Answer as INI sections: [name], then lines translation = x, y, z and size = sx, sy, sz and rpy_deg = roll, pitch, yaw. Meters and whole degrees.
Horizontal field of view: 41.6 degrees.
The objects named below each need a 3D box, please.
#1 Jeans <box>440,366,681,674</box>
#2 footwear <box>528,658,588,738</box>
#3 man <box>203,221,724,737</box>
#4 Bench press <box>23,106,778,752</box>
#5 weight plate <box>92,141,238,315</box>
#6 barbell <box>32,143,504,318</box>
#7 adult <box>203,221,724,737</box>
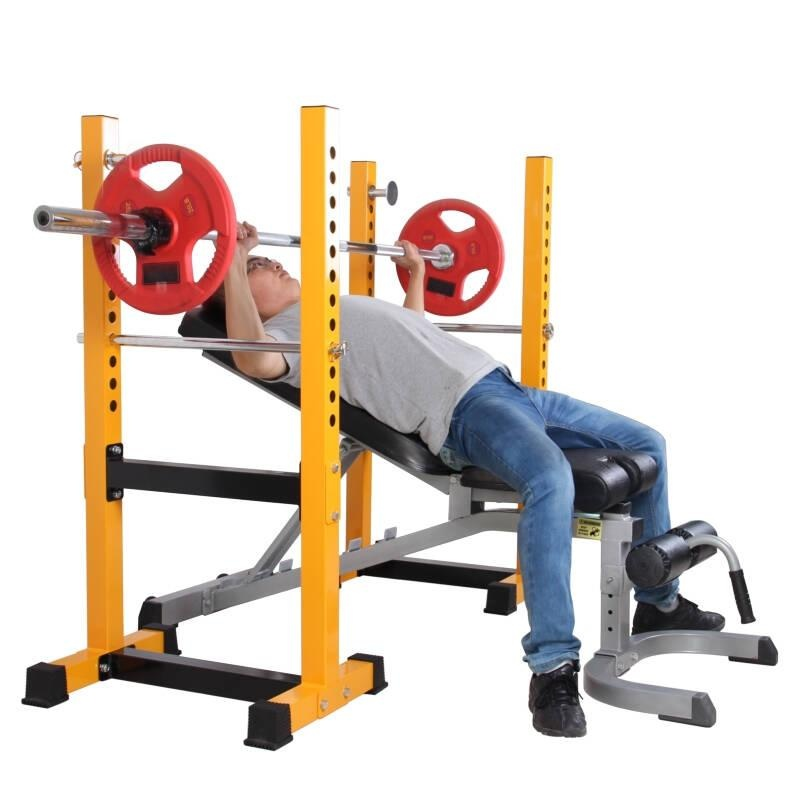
[Jeans]
translation = 0.408, 0.319, 2.879
size = 0.597, 0.617, 0.544
rpy_deg = 7, 13, 39
[footwear]
translation = 0.366, 0.711, 2.471
size = 0.131, 0.162, 0.226
rpy_deg = 0, -2, 8
[man]
translation = 0.140, 0.136, 3.036
size = 1.407, 1.208, 0.992
rpy_deg = 0, 6, 32
[Bench press]
translation = 0.017, 0.219, 3.155
size = 1.818, 1.444, 2.053
rpy_deg = 1, 4, 26
[weight plate]
translation = -0.577, -0.403, 2.507
size = 0.417, 0.397, 0.144
rpy_deg = -1, -3, 40
[barbell]
translation = -0.178, -0.405, 3.145
size = 0.487, 0.464, 1.981
rpy_deg = 13, 10, 38
[adult]
translation = 0.107, 0.143, 3.013
size = 1.396, 1.197, 1.033
rpy_deg = 1, 7, 30
